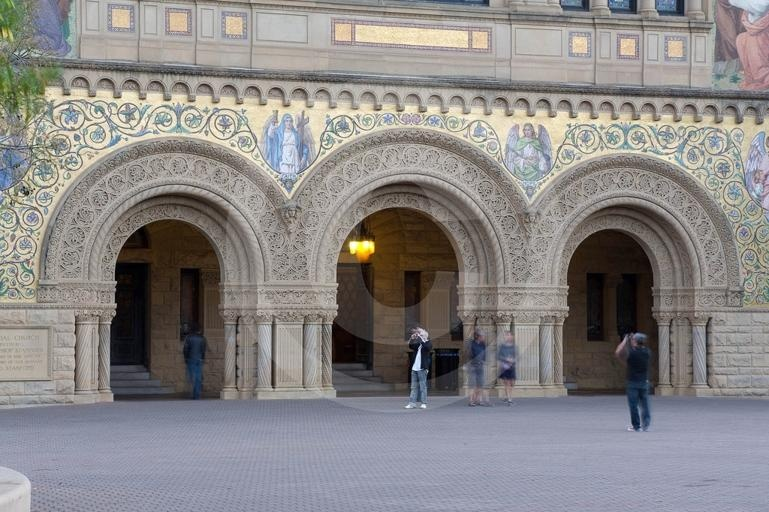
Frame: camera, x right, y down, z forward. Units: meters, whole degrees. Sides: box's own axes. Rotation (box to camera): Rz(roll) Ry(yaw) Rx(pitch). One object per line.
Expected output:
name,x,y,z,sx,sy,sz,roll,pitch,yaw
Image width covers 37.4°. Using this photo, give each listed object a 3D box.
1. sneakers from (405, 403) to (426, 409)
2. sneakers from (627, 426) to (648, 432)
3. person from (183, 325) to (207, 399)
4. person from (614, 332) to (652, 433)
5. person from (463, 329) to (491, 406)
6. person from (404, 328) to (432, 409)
sneakers,0.682,3.407,25.654,0.476,0.179,0.152,7,-10,-18
sneakers,4.849,3.341,21.961,0.142,0.134,0.360,0,3,-19
person,-4.735,2.664,28.505,0.541,1.841,0.935,1,-8,-10
person,4.963,2.485,22.526,0.605,1.924,1.343,-3,-8,13
person,2.138,2.626,26.384,0.452,1.692,0.786,-1,-8,4
person,0.755,2.562,26.016,0.586,1.856,1.137,-1,-8,1
